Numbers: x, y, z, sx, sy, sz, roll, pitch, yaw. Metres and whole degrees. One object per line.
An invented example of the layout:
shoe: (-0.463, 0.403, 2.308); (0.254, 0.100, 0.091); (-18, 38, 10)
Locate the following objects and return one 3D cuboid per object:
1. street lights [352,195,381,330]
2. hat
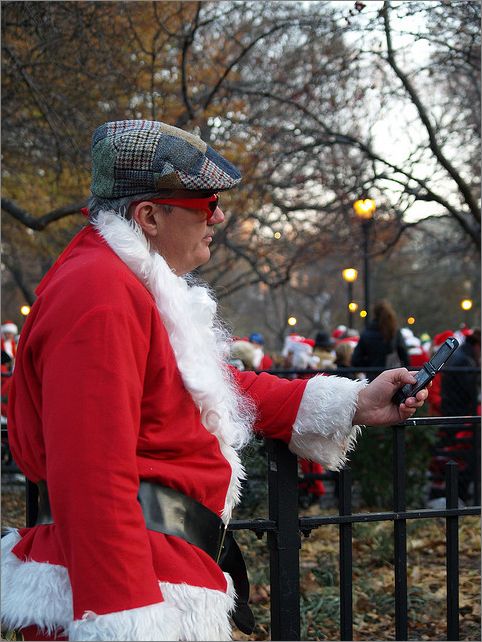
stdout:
street lights: (1.418, -0.602, 12.006); (0.387, 0.329, 1.924); (0, -43, 11)
hat: (-0.298, -0.600, 3.777); (0.417, 0.166, 0.294); (-3, 11, -2)
